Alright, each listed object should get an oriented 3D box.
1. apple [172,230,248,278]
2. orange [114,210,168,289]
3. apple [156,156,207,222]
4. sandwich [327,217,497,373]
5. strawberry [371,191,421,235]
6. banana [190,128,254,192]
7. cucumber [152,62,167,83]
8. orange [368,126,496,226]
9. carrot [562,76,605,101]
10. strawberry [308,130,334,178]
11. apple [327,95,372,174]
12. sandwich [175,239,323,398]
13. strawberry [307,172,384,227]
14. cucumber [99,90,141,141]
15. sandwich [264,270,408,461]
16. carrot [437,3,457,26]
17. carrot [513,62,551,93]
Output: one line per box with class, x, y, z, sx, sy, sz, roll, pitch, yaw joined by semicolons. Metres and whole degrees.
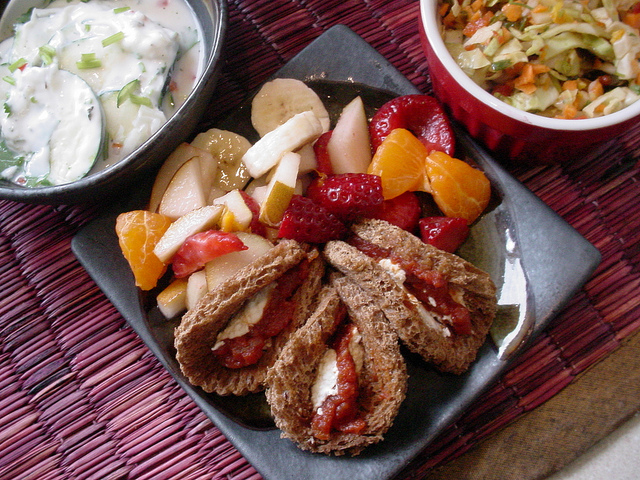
apple;-0.366;0.045;2.099;0.306;0.077;0.127;-14;89;25
orange;-0.592;0.029;2.184;0.231;0.093;0.243;-16;84;23
apple;-0.466;-0.173;2.232;0.158;0.055;0.211;17;86;17
sandwich;0.352;0.125;2.121;0.642;0.273;0.369;34;100;41
strawberry;0.272;-0.132;2.212;0.176;0.158;0.039;-6;114;6
banana;-0.342;-0.288;2.351;0.258;0.078;0.201;-10;91;-2
cucumber;-0.567;-0.596;2.266;0.036;0.016;0.057;21;83;-12
orange;0.360;-0.219;2.141;0.425;0.159;0.269;24;92;-3
carrot;0.853;-0.494;2.055;0.102;0.028;0.090;20;57;24
strawberry;0.011;-0.300;2.259;0.038;0.122;0.136;-5;82;40
apple;0.104;-0.368;2.261;0.190;0.106;0.230;11;84;11
sandwich;-0.181;0.243;2.163;0.604;0.170;0.381;-44;85;7
strawberry;0.105;-0.147;2.131;0.229;0.092;0.162;17;90;14
cucumber;-0.710;-0.445;2.288;0.177;0.045;0.159;-19;91;-3
sandwich;0.063;0.390;2.111;0.510;0.185;0.563;-7;76;-1
carrot;0.428;-0.754;2.134;0.068;0.023;0.058;-11;112;37
carrot;0.670;-0.515;2.039;0.103;0.036;0.096;32;106;14
